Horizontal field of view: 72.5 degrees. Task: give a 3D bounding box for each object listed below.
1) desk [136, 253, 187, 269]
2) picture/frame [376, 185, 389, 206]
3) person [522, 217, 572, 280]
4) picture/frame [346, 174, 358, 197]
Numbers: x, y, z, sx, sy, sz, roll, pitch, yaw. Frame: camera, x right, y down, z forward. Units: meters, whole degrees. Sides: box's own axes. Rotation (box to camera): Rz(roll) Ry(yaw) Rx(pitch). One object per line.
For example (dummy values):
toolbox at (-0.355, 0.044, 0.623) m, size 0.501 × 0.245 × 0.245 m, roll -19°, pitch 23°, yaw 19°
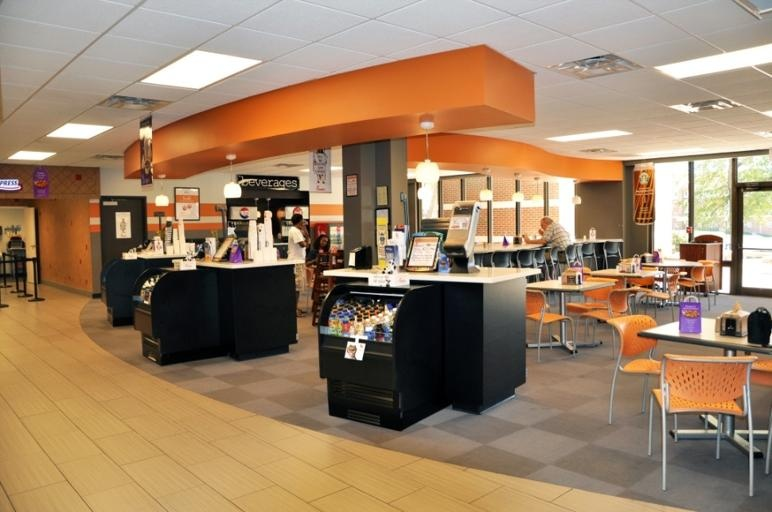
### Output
desk at (-4.577, 0.115, 10.630) m, size 0.861 × 0.297 × 0.360 m, roll -2°, pitch 4°, yaw 3°
picture/frame at (-0.060, -1.015, 8.943) m, size 0.248 × 0.348 × 0.047 m, roll 1°, pitch 5°, yaw 44°
person at (3.984, -0.221, 13.216) m, size 0.932 × 1.488 × 0.992 m, roll -10°, pitch 22°, yaw -23°
picture/frame at (-0.582, -1.214, 9.126) m, size 0.281 × 0.378 × 0.050 m, roll 1°, pitch 5°, yaw 42°
